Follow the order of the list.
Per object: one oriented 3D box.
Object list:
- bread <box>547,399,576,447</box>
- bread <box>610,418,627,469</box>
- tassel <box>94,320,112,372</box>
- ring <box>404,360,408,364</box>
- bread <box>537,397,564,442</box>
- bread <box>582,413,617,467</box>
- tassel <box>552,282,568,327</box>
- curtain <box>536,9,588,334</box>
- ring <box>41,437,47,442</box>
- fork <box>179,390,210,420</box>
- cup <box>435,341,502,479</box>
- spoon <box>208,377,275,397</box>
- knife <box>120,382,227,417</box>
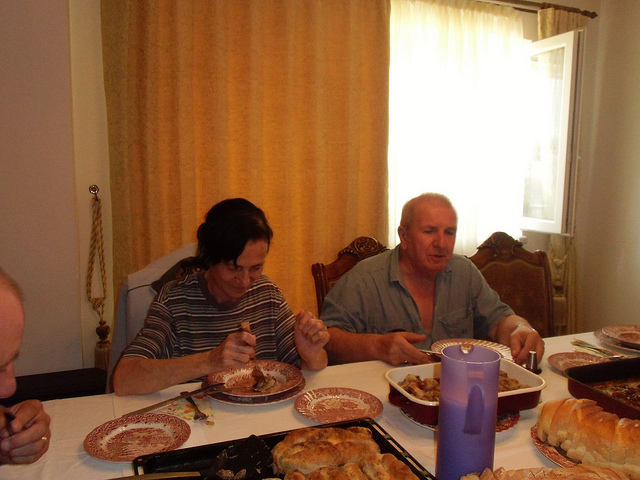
[{"bbox_3d":[0.702,0.541,1.513,0.031,0.112,0.109,11,37,26],"label":"bread"},{"bbox_3d":[0.831,0.567,1.420,0.038,0.112,0.089,2,7,33],"label":"bread"},{"bbox_3d":[-1.351,0.646,3.169,0.101,0.285,0.319,-4,6,-24],"label":"tassel"},{"bbox_3d":[0.348,0.493,2.070,0.015,0.004,0.016,-8,-30,-4],"label":"ring"},{"bbox_3d":[0.698,0.536,1.529,0.028,0.098,0.097,9,-1,36],"label":"bread"},{"bbox_3d":[0.773,0.550,1.438,0.034,0.120,0.098,27,3,18],"label":"bread"},{"bbox_3d":[2.055,0.548,4.361,0.117,0.371,0.101,0,6,18],"label":"tassel"},{"bbox_3d":[2.067,-0.555,4.351,0.478,2.773,0.326,0,6,9],"label":"curtain"},{"bbox_3d":[-0.801,0.577,1.484,0.012,0.010,0.003,13,-2,-44],"label":"ring"},{"bbox_3d":[-0.428,0.569,1.766,0.049,0.025,0.168,-7,19,-26],"label":"fork"},{"bbox_3d":[0.386,0.464,1.353,0.161,0.386,0.148,-1,6,0],"label":"cup"},{"bbox_3d":[-0.287,0.527,1.831,0.171,0.028,0.035,-1,10,-28],"label":"spoon"},{"bbox_3d":[-0.511,0.553,1.755,0.223,0.021,0.025,-15,32,-8],"label":"knife"}]
